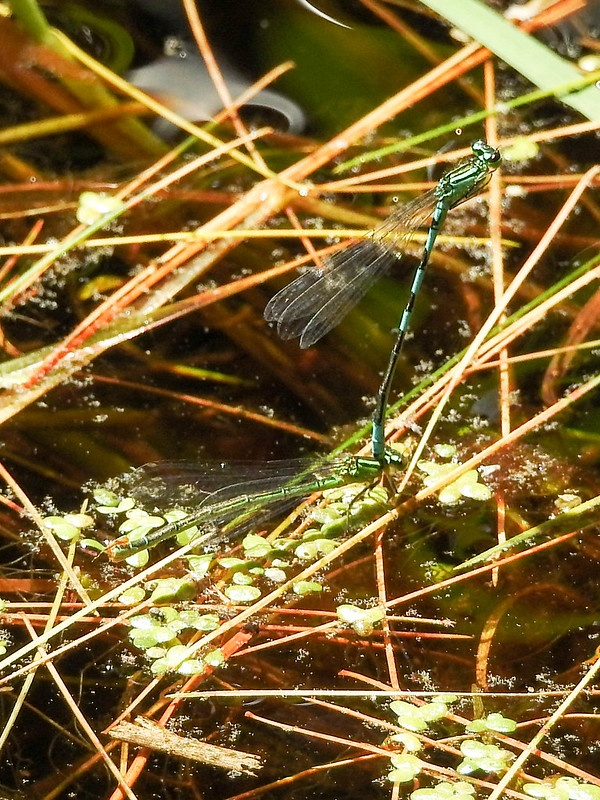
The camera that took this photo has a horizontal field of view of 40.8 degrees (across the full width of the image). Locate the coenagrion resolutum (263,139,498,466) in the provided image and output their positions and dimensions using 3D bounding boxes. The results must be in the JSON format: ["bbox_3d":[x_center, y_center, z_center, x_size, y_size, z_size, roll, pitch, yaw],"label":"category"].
[{"bbox_3d":[0.103,-0.124,0.871,0.217,0.291,0.236,-25,47,-24],"label":"coenagrion resolutum"}]

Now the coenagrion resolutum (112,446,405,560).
[{"bbox_3d":[-0.031,0.097,0.855,0.329,0.075,0.110,-12,10,-8],"label":"coenagrion resolutum"}]
